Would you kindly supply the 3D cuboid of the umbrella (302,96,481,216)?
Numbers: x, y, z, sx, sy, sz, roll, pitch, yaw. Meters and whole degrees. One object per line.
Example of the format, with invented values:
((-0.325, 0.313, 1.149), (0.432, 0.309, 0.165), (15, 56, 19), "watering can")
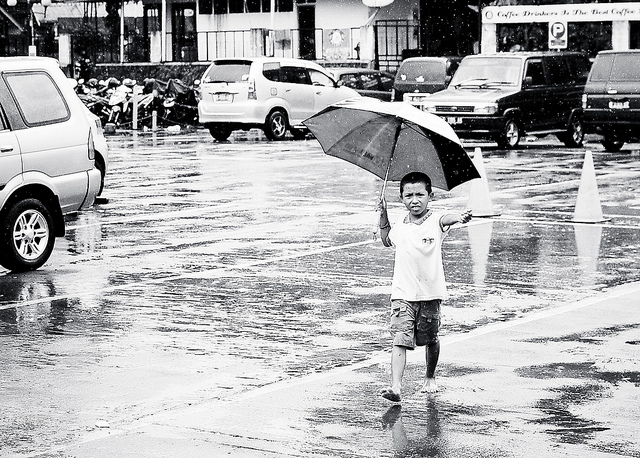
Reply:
((0.610, -0.577, 12.027), (1.046, 0.691, 1.075), (9, 17, 28), "umbrella")
